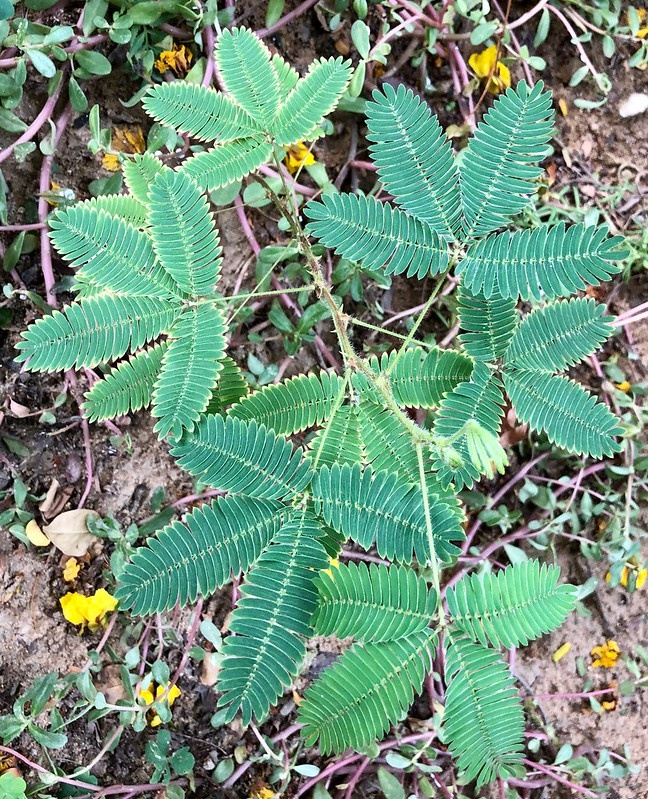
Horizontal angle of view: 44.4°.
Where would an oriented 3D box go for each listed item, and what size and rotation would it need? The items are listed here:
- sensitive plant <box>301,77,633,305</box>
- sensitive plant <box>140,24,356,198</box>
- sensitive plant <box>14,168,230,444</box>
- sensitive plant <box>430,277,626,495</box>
[{"bbox_3d":[0.382,-0.470,2.004,0.640,0.131,0.641,44,97,0],"label":"sensitive plant"},{"bbox_3d":[-0.144,-0.766,2.146,0.618,0.653,0.123,1,84,31],"label":"sensitive plant"},{"bbox_3d":[-0.470,-0.259,1.954,0.522,0.177,0.638,17,77,5],"label":"sensitive plant"},{"bbox_3d":[0.562,-0.104,2.172,0.126,0.602,0.489,-38,91,-25],"label":"sensitive plant"}]
